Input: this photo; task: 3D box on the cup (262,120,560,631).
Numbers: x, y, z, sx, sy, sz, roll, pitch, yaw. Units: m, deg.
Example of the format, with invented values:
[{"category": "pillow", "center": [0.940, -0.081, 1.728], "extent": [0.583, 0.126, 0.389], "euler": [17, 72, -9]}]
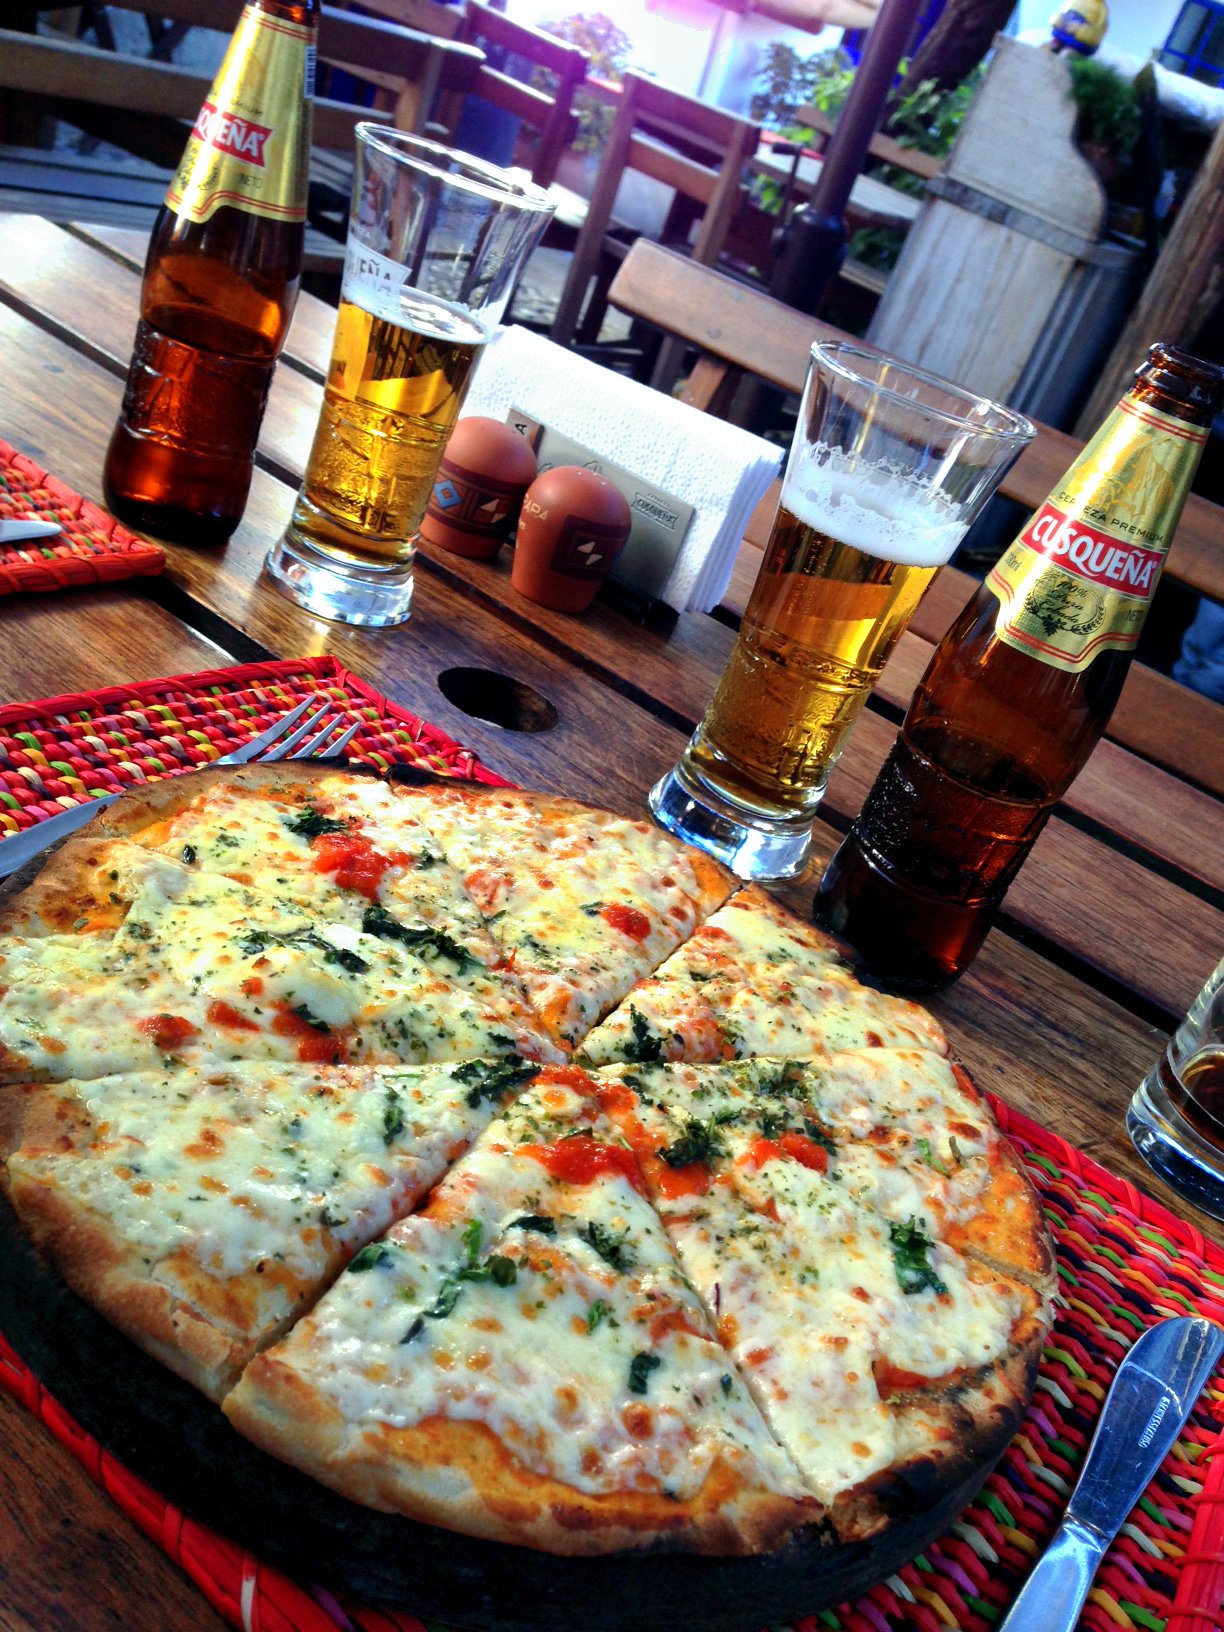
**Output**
[{"category": "cup", "center": [-0.175, -0.316, 0.974], "extent": [0.149, 0.359, 0.110], "euler": [17, 24, -19]}]

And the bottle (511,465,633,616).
[{"category": "bottle", "center": [-0.043, -0.271, 1.231], "extent": [0.120, 0.125, 0.104], "euler": [7, 25, -29]}]

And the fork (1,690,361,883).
[{"category": "fork", "center": [-0.222, -0.034, 0.777], "extent": [0.347, 0.037, 0.041], "euler": [-20, 54, -41]}]

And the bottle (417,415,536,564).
[{"category": "bottle", "center": [-0.128, -0.324, 1.260], "extent": [0.111, 0.114, 0.099], "euler": [26, 14, 23]}]
